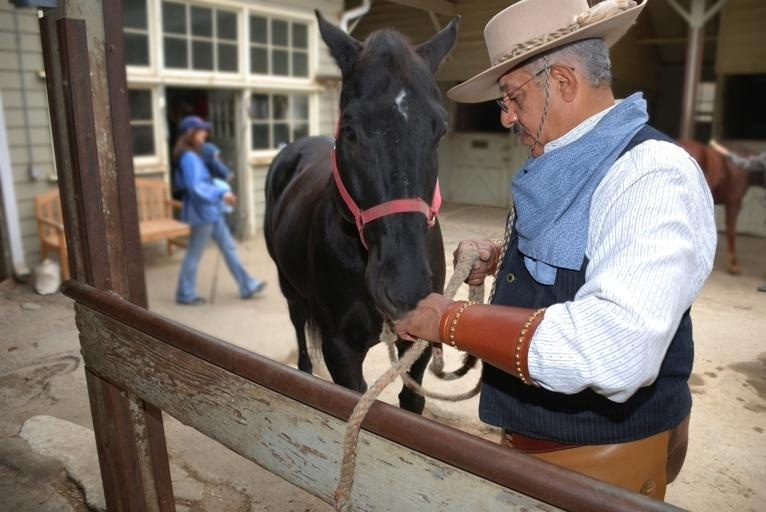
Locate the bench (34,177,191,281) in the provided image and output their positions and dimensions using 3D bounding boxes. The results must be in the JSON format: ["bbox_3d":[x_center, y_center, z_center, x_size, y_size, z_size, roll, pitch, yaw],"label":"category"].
[{"bbox_3d":[-2.125,-0.216,5.316,0.431,0.819,1.125,11,19,39],"label":"bench"}]

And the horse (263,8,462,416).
[{"bbox_3d":[-0.202,-0.116,4.107,0.902,2.267,2.769,-2,10,-13],"label":"horse"}]

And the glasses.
[{"bbox_3d":[0.592,-0.709,2.657,0.155,0.059,0.210,-16,30,53],"label":"glasses"}]

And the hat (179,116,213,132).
[{"bbox_3d":[-1.191,-0.827,4.145,0.146,0.077,0.097,-5,28,-2],"label":"hat"}]
